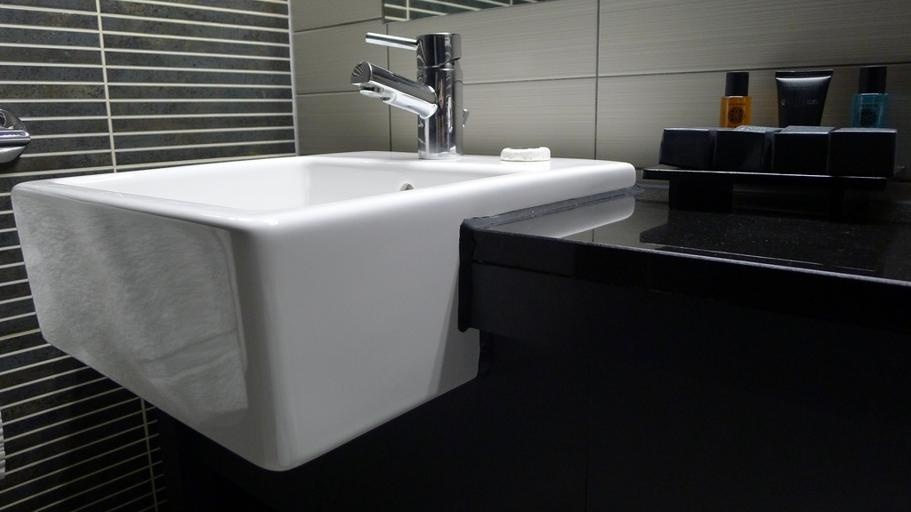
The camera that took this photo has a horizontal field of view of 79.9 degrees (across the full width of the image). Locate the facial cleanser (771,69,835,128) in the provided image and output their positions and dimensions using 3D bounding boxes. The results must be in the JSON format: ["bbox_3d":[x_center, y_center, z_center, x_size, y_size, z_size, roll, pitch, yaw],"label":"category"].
[{"bbox_3d":[0.660,-0.290,1.036,0.137,0.106,0.107,7,14,29],"label":"facial cleanser"}]

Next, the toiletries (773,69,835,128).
[{"bbox_3d":[0.659,-0.290,1.033,0.132,0.105,0.103,7,14,30],"label":"toiletries"}]

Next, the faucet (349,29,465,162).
[{"bbox_3d":[-0.104,-0.355,1.215,0.163,0.277,0.267,11,22,30],"label":"faucet"}]

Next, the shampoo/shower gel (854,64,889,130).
[{"bbox_3d":[0.780,-0.294,1.002,0.055,0.105,0.119,13,23,34],"label":"shampoo/shower gel"}]

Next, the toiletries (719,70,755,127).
[{"bbox_3d":[0.574,-0.314,1.083,0.059,0.106,0.129,9,20,26],"label":"toiletries"}]
